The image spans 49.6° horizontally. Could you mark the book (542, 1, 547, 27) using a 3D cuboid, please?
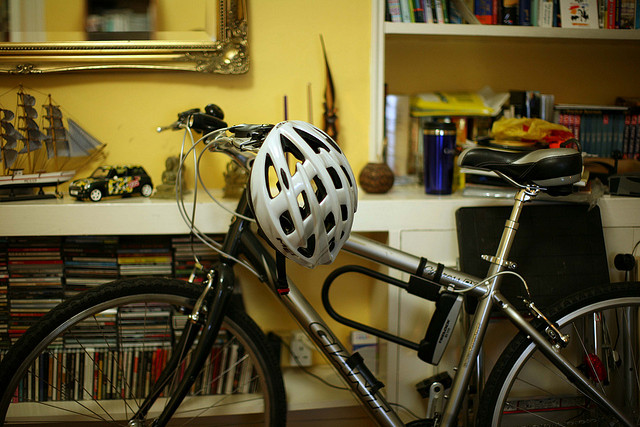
[{"bbox_3d":[0.960,-0.851,2.952,0.024,0.101,0.014,-5,10,-6],"label":"book"}]

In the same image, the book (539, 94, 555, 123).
[{"bbox_3d":[0.989,-0.454,3.046,0.079,0.125,0.106,0,-2,41],"label":"book"}]

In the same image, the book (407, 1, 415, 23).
[{"bbox_3d":[0.386,-0.850,2.923,0.026,0.086,0.007,-4,10,0],"label":"book"}]

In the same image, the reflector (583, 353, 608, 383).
[{"bbox_3d":[1.051,0.587,2.672,0.076,0.112,0.033,1,-25,-36],"label":"reflector"}]

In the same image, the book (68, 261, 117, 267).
[{"bbox_3d":[-0.924,0.206,2.819,0.195,0.037,0.005,-4,10,-1],"label":"book"}]

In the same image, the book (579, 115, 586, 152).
[{"bbox_3d":[1.147,-0.348,3.025,0.021,0.159,0.037,3,12,34],"label":"book"}]

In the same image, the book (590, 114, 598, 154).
[{"bbox_3d":[1.204,-0.345,3.034,0.030,0.169,0.008,-6,10,-13],"label":"book"}]

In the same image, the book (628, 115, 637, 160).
[{"bbox_3d":[1.374,-0.334,3.042,0.039,0.193,0.007,-6,10,-11],"label":"book"}]

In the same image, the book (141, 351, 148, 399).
[{"bbox_3d":[-0.721,0.653,2.849,0.024,0.225,0.028,3,-3,4],"label":"book"}]

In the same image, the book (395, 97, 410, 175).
[{"bbox_3d":[0.375,-0.348,3.119,0.071,0.341,0.027,-2,10,11],"label":"book"}]

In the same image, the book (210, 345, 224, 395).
[{"bbox_3d":[-0.422,0.645,2.858,0.033,0.193,0.077,6,14,44],"label":"book"}]

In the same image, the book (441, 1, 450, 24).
[{"bbox_3d":[0.533,-0.850,2.928,0.037,0.088,0.011,-10,12,-34],"label":"book"}]
